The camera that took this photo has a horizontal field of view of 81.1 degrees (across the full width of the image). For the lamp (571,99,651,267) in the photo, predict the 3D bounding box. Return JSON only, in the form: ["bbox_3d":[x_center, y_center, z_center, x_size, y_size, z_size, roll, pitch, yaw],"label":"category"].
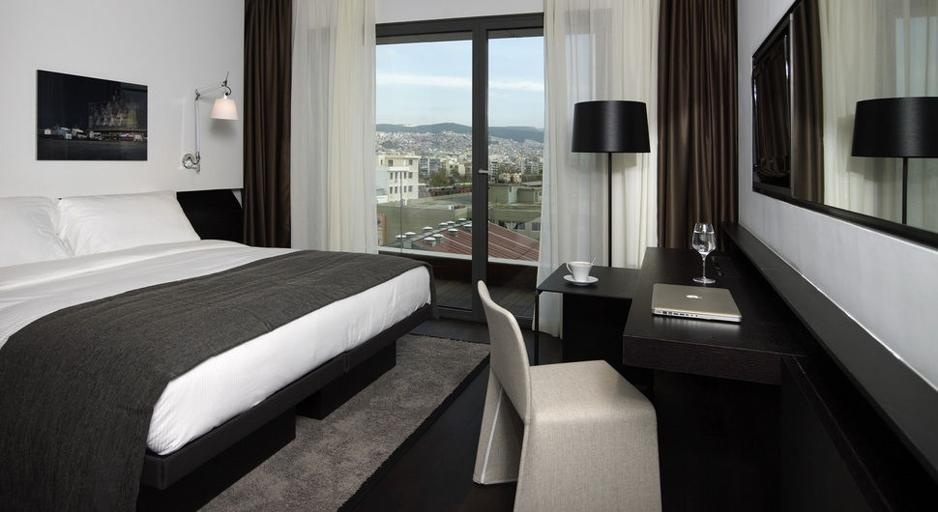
[{"bbox_3d":[1.342,-0.545,5.157,0.722,1.777,0.666,1,21,13],"label":"lamp"}]

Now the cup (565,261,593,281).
[{"bbox_3d":[0.852,0.116,4.136,0.148,0.106,0.175,-1,5,-11],"label":"cup"}]

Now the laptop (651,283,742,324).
[{"bbox_3d":[1.296,0.264,3.143,0.474,0.088,0.428,0,15,15],"label":"laptop"}]
